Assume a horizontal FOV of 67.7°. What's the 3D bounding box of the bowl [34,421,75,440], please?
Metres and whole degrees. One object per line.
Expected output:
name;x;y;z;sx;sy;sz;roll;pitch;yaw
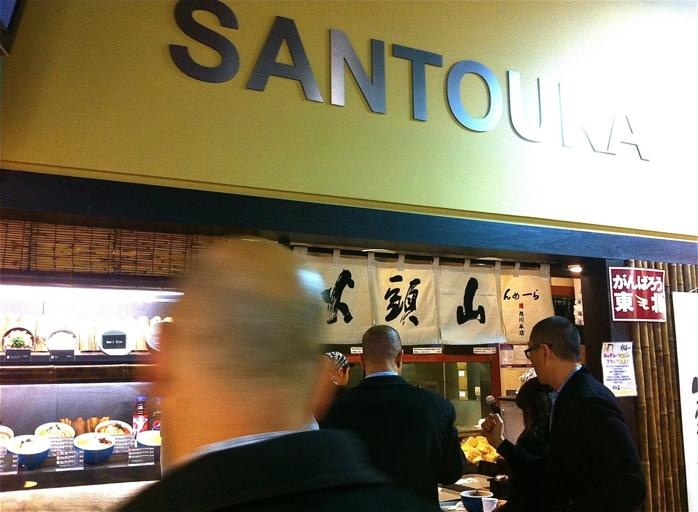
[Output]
bowl;-2.673;1.586;4.708;0.194;0.088;0.203;6;2;0
